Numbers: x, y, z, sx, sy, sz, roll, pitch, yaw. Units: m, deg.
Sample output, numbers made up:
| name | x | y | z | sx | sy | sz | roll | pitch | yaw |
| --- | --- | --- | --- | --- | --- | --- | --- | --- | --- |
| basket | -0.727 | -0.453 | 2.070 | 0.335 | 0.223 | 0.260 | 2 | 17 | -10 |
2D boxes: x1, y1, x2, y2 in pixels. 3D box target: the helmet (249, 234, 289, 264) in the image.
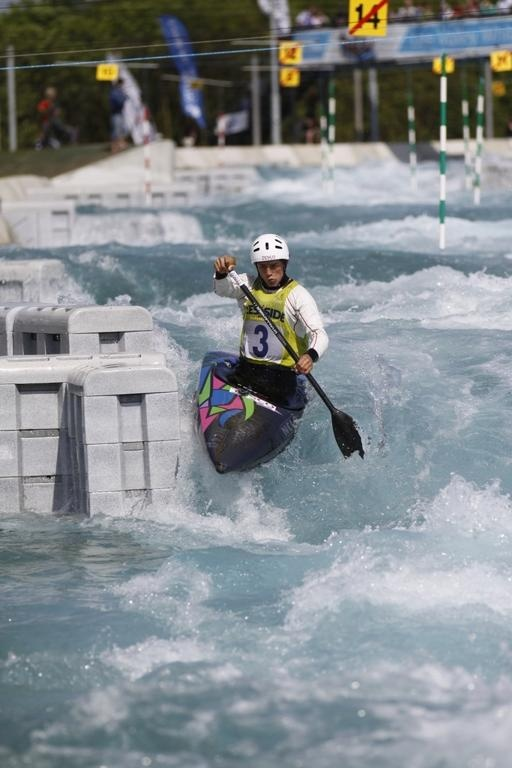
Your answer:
| name | x | y | z | sx | sy | sz | roll | pitch | yaw |
| --- | --- | --- | --- | --- | --- | --- | --- | --- | --- |
| helmet | 0.071 | -0.891 | 7.052 | 0.186 | 0.211 | 0.182 | -3 | 0 | 2 |

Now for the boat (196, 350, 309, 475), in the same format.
| name | x | y | z | sx | sy | sz | roll | pitch | yaw |
| --- | --- | --- | --- | --- | --- | --- | --- | --- | --- |
| boat | -0.071 | 0.183 | 7.012 | 0.541 | 0.248 | 0.843 | 22 | 25 | -3 |
